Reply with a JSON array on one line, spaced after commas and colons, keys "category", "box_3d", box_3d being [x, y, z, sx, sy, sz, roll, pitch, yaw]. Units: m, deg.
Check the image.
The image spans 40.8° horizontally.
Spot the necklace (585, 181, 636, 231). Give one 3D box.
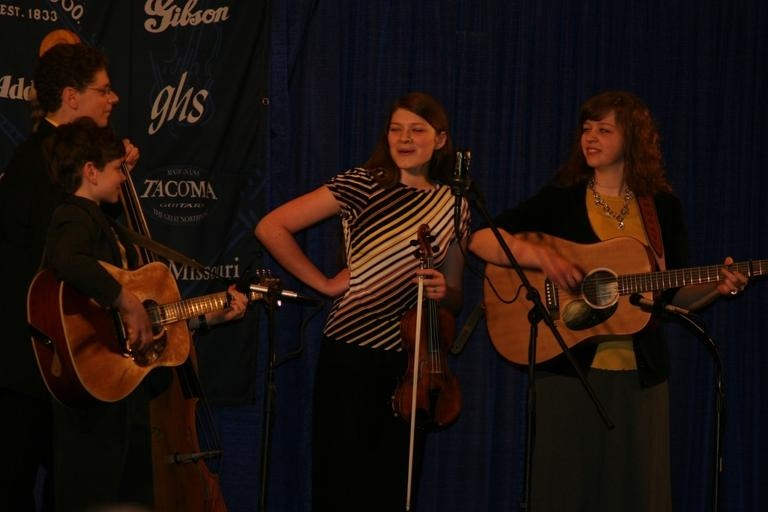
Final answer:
[{"category": "necklace", "box_3d": [1.407, -0.299, 6.336, 0.202, 0.277, 0.196, 3, 6, -10]}]

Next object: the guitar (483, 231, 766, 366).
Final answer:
[{"category": "guitar", "box_3d": [1.299, 0.285, 6.251, 1.397, 0.819, 0.235, 4, -3, 19]}]

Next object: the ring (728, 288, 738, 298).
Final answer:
[{"category": "ring", "box_3d": [2.114, 0.230, 6.235, 0.032, 0.053, 0.100, 24, 2, 36]}]

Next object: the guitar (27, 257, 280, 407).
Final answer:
[{"category": "guitar", "box_3d": [-1.272, 0.362, 5.935, 0.230, 0.729, 1.375, -10, 7, 39]}]

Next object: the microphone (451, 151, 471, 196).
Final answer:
[{"category": "microphone", "box_3d": [0.444, -0.466, 5.921, 0.105, 0.248, 0.162, 4, -4, 3]}]

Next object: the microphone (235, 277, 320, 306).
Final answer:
[{"category": "microphone", "box_3d": [-0.622, 0.209, 5.976, 0.348, 0.153, 0.201, 15, 7, 25]}]
